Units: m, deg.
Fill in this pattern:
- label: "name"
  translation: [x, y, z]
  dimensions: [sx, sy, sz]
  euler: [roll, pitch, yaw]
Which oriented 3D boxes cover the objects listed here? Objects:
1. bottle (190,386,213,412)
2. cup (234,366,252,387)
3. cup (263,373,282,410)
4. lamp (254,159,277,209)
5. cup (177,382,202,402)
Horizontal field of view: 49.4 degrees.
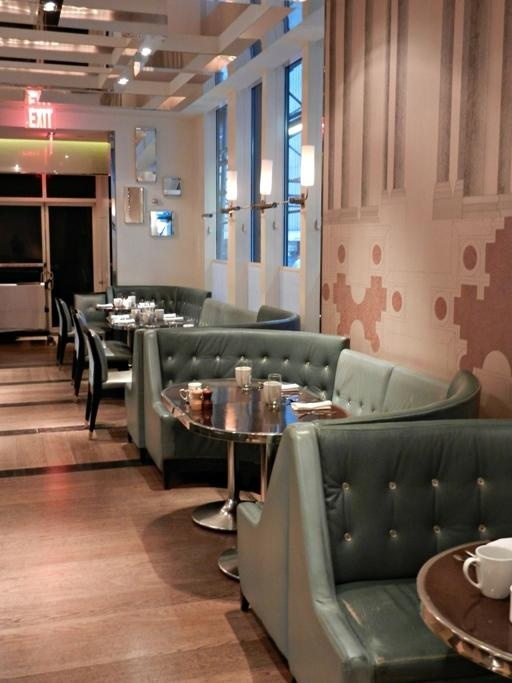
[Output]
- label: "bottle"
  translation: [-0.262, 0.271, 2.585]
  dimensions: [0.097, 0.129, 0.088]
  euler: [2, 3, 0]
- label: "cup"
  translation: [-0.070, 0.192, 3.047]
  dimensions: [0.095, 0.122, 0.100]
  euler: [1, 6, 0]
- label: "cup"
  translation: [0.061, 0.243, 2.696]
  dimensions: [0.116, 0.220, 0.134]
  euler: [-1, 4, -7]
- label: "lamp"
  translation: [0.088, -1.595, 5.698]
  dimensions: [0.169, 0.398, 0.168]
  euler: [-1, 17, 18]
- label: "cup"
  translation: [-0.313, 0.251, 2.711]
  dimensions: [0.127, 0.139, 0.080]
  euler: [-1, 5, -26]
